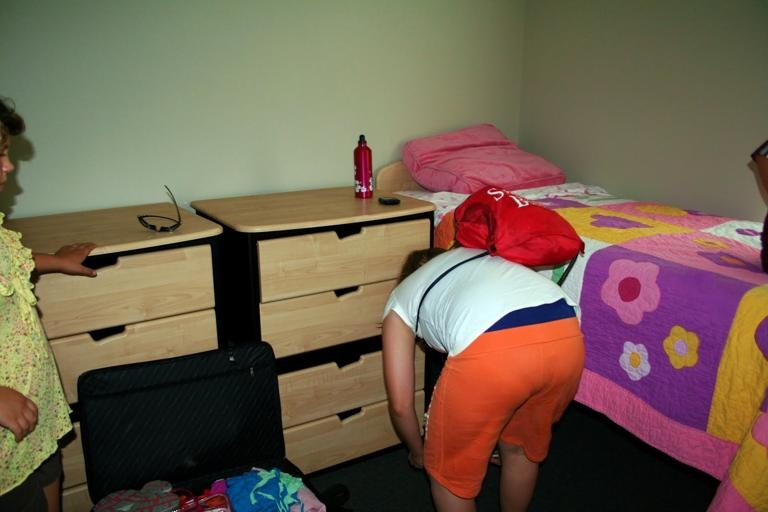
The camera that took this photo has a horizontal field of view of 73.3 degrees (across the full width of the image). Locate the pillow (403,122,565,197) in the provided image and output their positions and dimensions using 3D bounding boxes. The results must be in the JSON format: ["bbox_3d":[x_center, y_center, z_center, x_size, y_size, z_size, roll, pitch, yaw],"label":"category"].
[{"bbox_3d":[0.545,-0.540,2.910,0.635,0.192,0.600,-12,32,-30],"label":"pillow"}]

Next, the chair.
[{"bbox_3d":[-0.801,0.622,2.111,0.939,0.568,0.663,-7,7,-23],"label":"chair"}]

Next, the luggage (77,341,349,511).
[{"bbox_3d":[-0.802,0.618,2.118,0.951,0.571,0.667,-6,7,-23],"label":"luggage"}]
